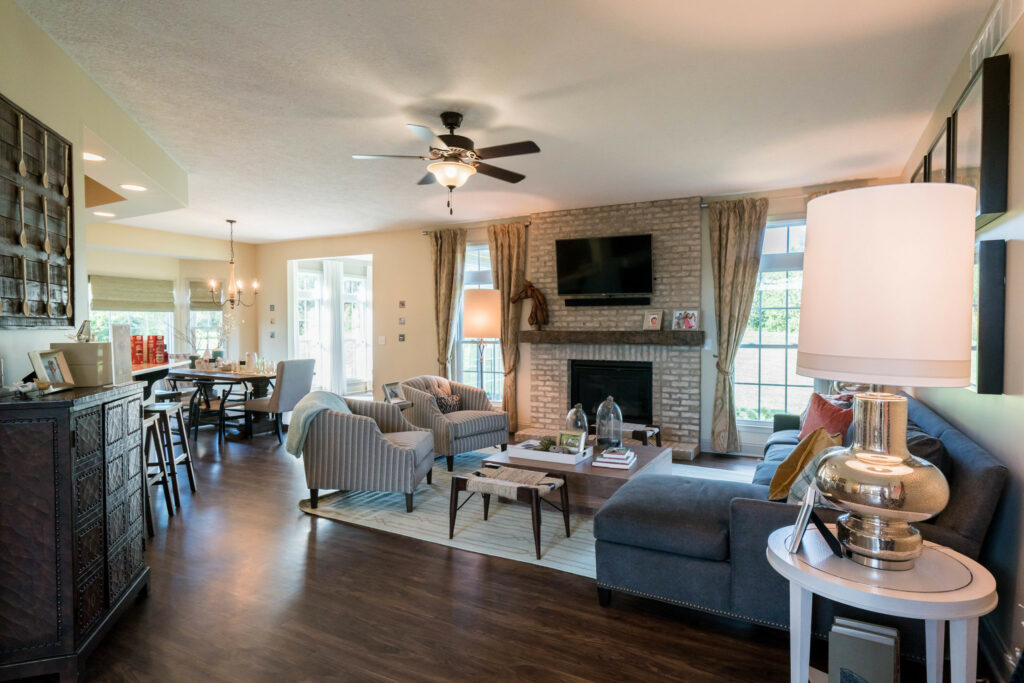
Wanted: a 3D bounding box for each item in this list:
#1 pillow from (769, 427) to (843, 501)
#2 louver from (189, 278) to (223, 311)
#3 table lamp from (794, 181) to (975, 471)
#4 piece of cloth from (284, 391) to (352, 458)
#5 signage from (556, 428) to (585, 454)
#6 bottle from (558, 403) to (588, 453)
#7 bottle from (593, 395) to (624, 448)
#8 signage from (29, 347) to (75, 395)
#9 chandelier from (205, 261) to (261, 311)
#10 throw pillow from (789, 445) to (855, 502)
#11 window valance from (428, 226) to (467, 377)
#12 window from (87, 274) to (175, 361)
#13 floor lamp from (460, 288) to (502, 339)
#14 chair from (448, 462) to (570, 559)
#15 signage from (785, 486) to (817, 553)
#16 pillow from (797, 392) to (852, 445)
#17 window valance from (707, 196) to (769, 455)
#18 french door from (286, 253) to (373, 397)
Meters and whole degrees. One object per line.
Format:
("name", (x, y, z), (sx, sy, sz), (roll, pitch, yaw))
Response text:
("pillow", (1.694, 0.731, 4.070), (0.136, 0.417, 0.456), (30, 23, 25))
("louver", (-4.718, -0.747, 10.462), (0.543, 0.492, 0.072), (-1, 1, -10))
("table lamp", (1.668, -0.260, 3.033), (0.708, 0.853, 0.366), (5, 15, 21))
("piece of cloth", (-1.662, 0.715, 5.733), (0.199, 0.563, 0.588), (7, 5, -37))
("signage", (0.480, 0.824, 5.620), (0.237, 0.030, 0.221), (1, 42, 15))
("bottle", (0.533, 0.739, 5.859), (0.275, 0.425, 0.265), (3, 0, 0))
("bottle", (0.809, 0.699, 5.917), (0.304, 0.472, 0.297), (3, -8, 0))
("signage", (-2.669, 0.176, 3.952), (0.094, 0.225, 0.250), (-17, 5, -1))
("chandelier", (-4.176, -0.851, 10.192), (0.702, 0.668, 0.704), (-2, -1, -13))
("throw pillow", (1.579, 0.681, 3.487), (0.328, 0.172, 0.311), (-44, -13, -20))
("window valance", (-0.974, -0.207, 9.147), (0.640, 2.045, 0.203), (-9, 22, -23))
("window", (-4.606, -0.351, 8.181), (0.133, 1.288, 1.344), (-2, -3, 27))
("floor lamp", (-0.446, -0.331, 8.053), (0.556, 0.561, 0.530), (2, -1, -8))
("chair", (-0.025, 1.238, 5.162), (0.790, 0.438, 0.580), (2, 1, 32))
("signage", (1.470, 0.915, 3.478), (0.036, 0.257, 0.347), (29, 8, 21))
("pillow", (2.326, 0.573, 5.069), (0.119, 0.242, 0.418), (20, 0, 4))
("window valance", (2.318, -0.038, 7.400), (0.813, 3.018, 0.371), (1, 3, 4))
("french door", (-2.978, -0.257, 11.546), (0.670, 2.452, 2.090), (5, 15, 21))
